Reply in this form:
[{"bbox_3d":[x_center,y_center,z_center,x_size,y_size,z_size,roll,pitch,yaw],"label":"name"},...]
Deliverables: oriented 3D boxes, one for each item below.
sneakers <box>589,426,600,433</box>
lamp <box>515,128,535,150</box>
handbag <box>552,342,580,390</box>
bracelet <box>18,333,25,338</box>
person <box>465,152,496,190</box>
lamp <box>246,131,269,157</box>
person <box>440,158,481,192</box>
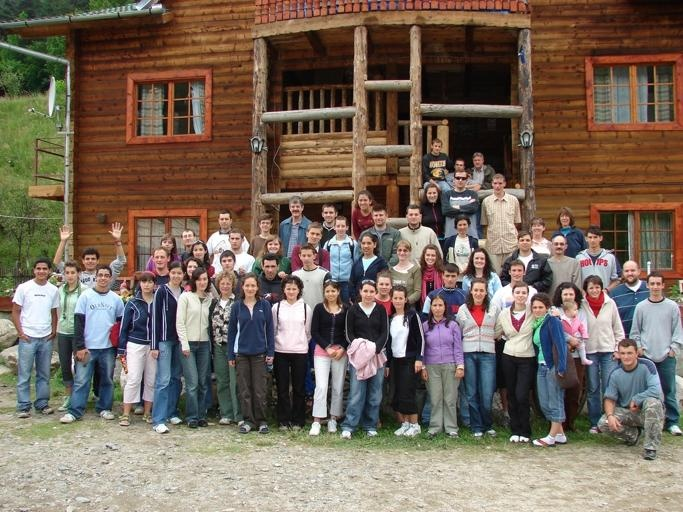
[{"bbox_3d":[3.899,2.677,12.992,0.115,0.122,0.259,-5,-14,11],"label":"sneakers"},{"bbox_3d":[3.568,-2.326,16.456,0.300,0.423,0.227,9,14,36],"label":"lamp"},{"bbox_3d":[3.407,1.758,12.646,0.306,0.689,0.519,7,13,29],"label":"handbag"},{"bbox_3d":[-5.048,1.230,13.221,0.128,0.073,0.172,4,-8,-23],"label":"bracelet"},{"bbox_3d":[2.627,-1.637,16.388,0.565,0.772,0.842,5,15,33],"label":"person"},{"bbox_3d":[-1.758,-2.311,17.278,0.391,0.475,0.409,4,-8,-41],"label":"lamp"},{"bbox_3d":[2.270,-1.550,15.853,0.566,0.517,0.844,-3,0,7],"label":"person"}]
